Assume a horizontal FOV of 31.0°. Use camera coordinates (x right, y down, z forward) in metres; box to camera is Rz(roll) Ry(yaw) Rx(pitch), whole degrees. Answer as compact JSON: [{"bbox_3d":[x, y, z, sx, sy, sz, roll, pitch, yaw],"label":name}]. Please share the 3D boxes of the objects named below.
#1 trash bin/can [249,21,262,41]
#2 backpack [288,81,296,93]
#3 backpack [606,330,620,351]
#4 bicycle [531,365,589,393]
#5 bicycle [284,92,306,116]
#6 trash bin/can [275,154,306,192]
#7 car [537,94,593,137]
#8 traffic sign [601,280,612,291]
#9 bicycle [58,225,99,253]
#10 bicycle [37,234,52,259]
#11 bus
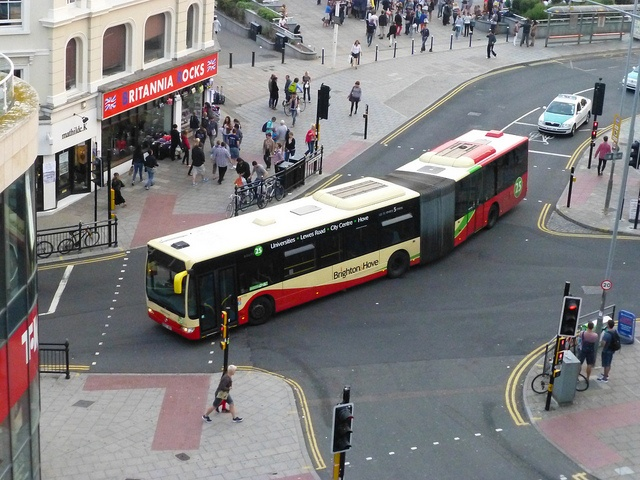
[{"bbox_3d":[-3.941,-12.718,70.384,0.519,1.060,1.020,-10,22,-32],"label":"trash bin/can"},{"bbox_3d":[-1.401,-7.669,58.065,0.254,0.501,0.358,-6,41,-19],"label":"backpack"},{"bbox_3d":[9.595,3.354,37.546,0.539,0.730,0.291,-11,21,-25],"label":"backpack"},{"bbox_3d":[7.975,4.685,37.835,2.498,1.127,0.708,1,9,6],"label":"bicycle"},{"bbox_3d":[-1.246,-6.961,59.624,0.769,0.993,1.603,18,39,29],"label":"bicycle"},{"bbox_3d":[-1.513,-2.759,50.073,0.614,1.279,2.463,7,26,22],"label":"trash bin/can"},{"bbox_3d":[12.351,-6.289,58.376,1.708,1.631,3.222,12,24,33],"label":"car"},{"bbox_3d":[9.502,1.533,38.460,0.380,0.409,0.088,-3,4,-7],"label":"traffic sign"},{"bbox_3d":[-9.422,-0.092,44.714,1.726,0.942,1.028,-11,22,-25],"label":"bicycle"},{"bbox_3d":[-10.592,0.280,44.315,0.592,0.625,0.952,-6,21,-13],"label":"bicycle"},{"bbox_3d":[1.880,-0.431,43.975,18.400,3.722,2.947,-18,25,-37],"label":"bus"}]
